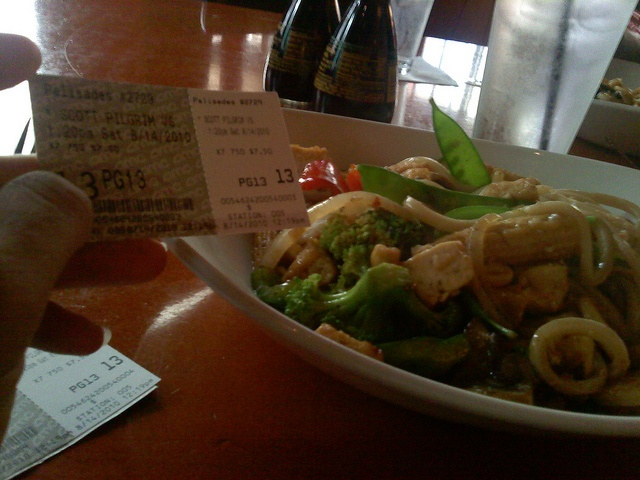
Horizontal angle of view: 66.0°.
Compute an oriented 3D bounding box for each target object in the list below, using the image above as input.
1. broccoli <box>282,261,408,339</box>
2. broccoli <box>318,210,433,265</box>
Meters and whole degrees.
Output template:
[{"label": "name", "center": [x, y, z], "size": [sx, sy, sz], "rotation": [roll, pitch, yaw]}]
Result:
[{"label": "broccoli", "center": [0.038, 0.095, 0.726], "size": [0.153, 0.065, 0.108], "rotation": [16, 25, 1]}, {"label": "broccoli", "center": [0.087, -0.026, 0.793], "size": [0.105, 0.050, 0.125], "rotation": [-12, 17, -28]}]
